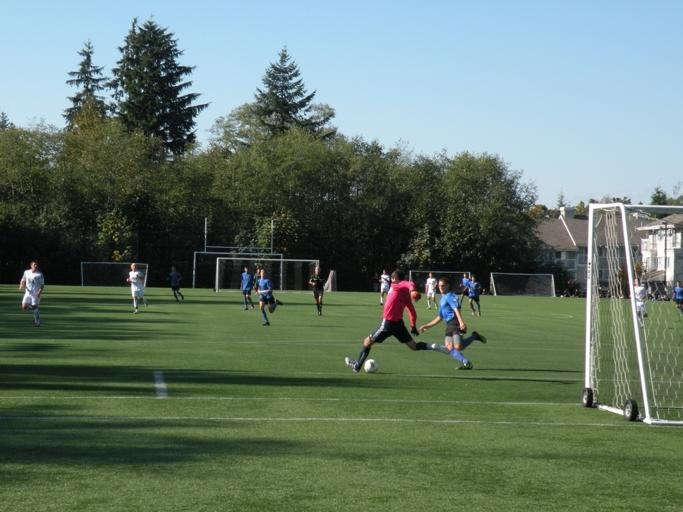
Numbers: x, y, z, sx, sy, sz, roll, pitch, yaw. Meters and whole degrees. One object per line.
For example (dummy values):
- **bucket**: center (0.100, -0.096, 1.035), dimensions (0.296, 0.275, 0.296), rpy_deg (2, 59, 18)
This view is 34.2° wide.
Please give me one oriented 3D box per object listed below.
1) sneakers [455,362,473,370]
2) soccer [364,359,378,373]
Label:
- **sneakers**: center (2.612, 2.338, 23.260), dimensions (0.262, 0.107, 0.214), rpy_deg (-3, -4, 44)
- **soccer**: center (0.593, 2.287, 22.960), dimensions (0.242, 0.250, 0.248), rpy_deg (-20, -13, 3)
